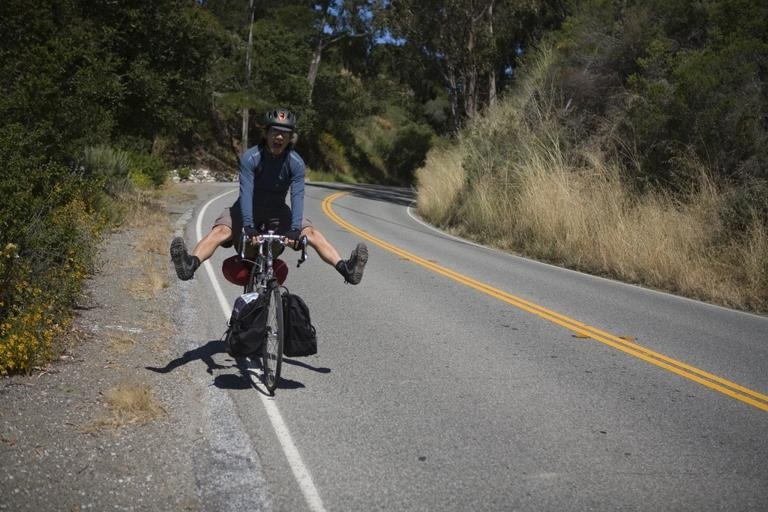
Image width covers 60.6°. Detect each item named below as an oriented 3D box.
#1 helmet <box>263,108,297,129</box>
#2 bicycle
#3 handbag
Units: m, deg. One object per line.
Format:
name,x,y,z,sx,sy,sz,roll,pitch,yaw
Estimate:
helmet,-1.497,-1.965,9.385,0.413,0.293,0.310,1,9,-12
bicycle,-1.691,0.782,9.540,1.150,2.363,0.879,7,8,36
handbag,-1.667,0.999,9.509,0.863,0.722,0.451,0,11,-8
